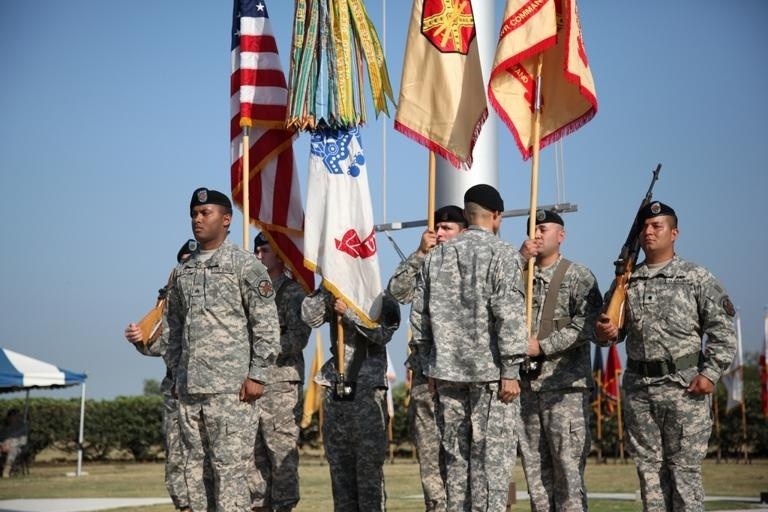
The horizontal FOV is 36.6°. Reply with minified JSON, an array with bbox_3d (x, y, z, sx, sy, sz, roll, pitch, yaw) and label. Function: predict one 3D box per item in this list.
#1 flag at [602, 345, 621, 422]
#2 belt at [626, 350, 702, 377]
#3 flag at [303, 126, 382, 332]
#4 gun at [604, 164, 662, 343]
[{"bbox_3d":[6.291,3.222,32.165,0.421,2.551,0.316,-8,25,-1],"label":"flag"},{"bbox_3d":[3.844,1.495,15.877,1.015,0.346,0.195,-4,-12,14],"label":"belt"},{"bbox_3d":[-0.588,-0.386,17.169,1.011,3.392,1.015,0,-4,3],"label":"flag"},{"bbox_3d":[3.519,-0.149,16.053,0.542,2.591,0.197,32,-18,-35],"label":"gun"}]
